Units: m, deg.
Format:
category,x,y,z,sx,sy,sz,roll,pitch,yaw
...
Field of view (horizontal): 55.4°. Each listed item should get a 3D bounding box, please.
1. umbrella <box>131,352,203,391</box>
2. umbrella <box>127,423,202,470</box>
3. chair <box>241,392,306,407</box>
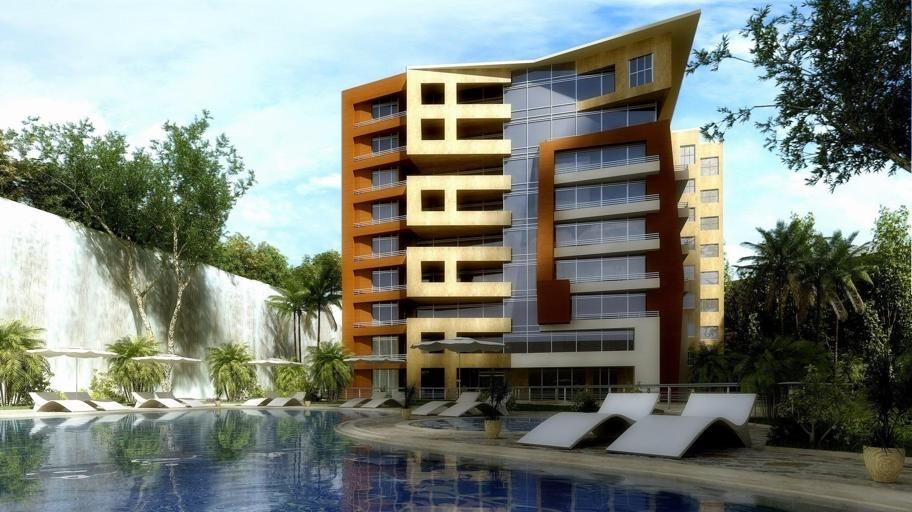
category,x,y,z,sx,sy,sz,roll,pitch,yaw
umbrella,-25.186,10.302,76.486,4.822,3.227,5.205,-9,-14,28
umbrella,-17.605,11.801,52.755,3.467,1.359,5.794,2,-10,-16
chair,-15.446,12.370,75.480,4.826,1.242,2.755,2,-10,-13
